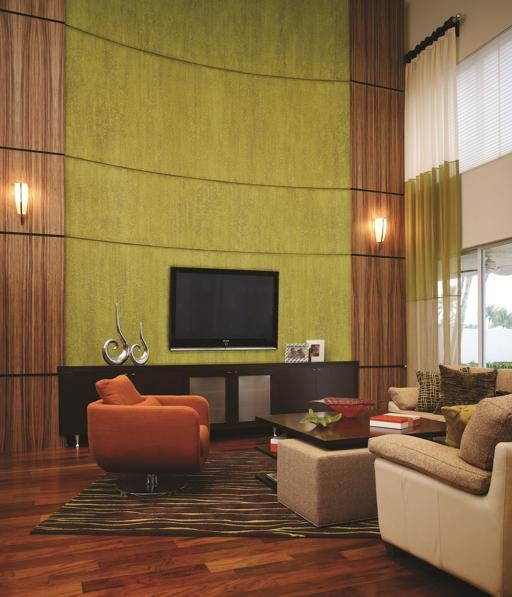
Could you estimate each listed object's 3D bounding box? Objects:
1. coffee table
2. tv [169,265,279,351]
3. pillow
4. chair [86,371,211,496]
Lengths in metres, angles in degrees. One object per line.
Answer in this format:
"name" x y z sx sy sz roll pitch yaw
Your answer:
"coffee table" 0.547 0.880 3.419 0.628 0.375 0.761 3 -5 -23
"tv" -0.377 0.107 6.012 0.897 0.677 0.089 2 -3 -20
"pillow" 1.481 0.802 4.389 0.515 0.589 0.172 -4 -17 43
"chair" -0.710 0.931 4.012 0.819 0.748 0.884 1 -3 -6
